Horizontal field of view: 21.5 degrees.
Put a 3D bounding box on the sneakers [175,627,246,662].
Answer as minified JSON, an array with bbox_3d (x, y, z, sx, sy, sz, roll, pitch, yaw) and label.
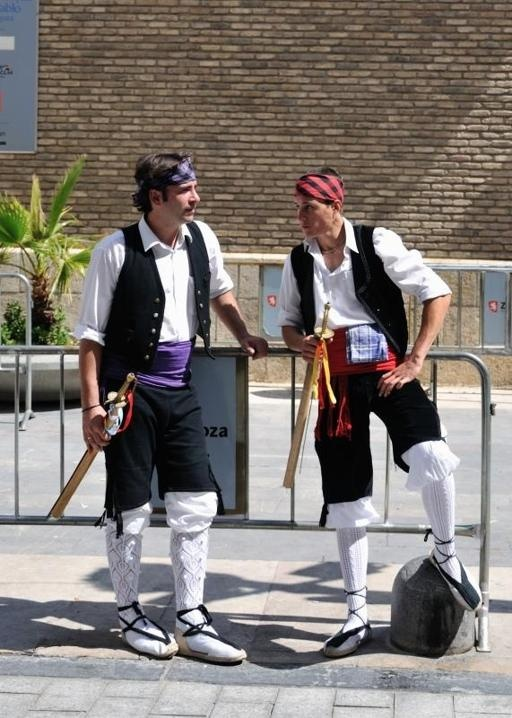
[{"bbox_3d":[-0.186,1.184,5.584,0.324,0.122,0.115,1,1,21],"label":"sneakers"}]

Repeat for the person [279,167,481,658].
[{"bbox_3d":[0.515,0.218,5.618,0.950,1.969,0.543,3,11,18],"label":"person"}]

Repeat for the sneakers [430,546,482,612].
[{"bbox_3d":[0.858,0.931,5.568,0.119,0.303,0.081,-30,-11,-33],"label":"sneakers"}]

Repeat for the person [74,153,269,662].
[{"bbox_3d":[-0.332,0.190,5.604,0.769,2.058,0.631,-5,11,-25],"label":"person"}]

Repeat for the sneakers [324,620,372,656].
[{"bbox_3d":[0.399,1.173,5.614,0.088,0.068,0.207,-3,3,40],"label":"sneakers"}]

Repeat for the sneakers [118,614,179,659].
[{"bbox_3d":[-0.454,1.137,5.617,0.125,0.098,0.265,-26,29,-34],"label":"sneakers"}]
